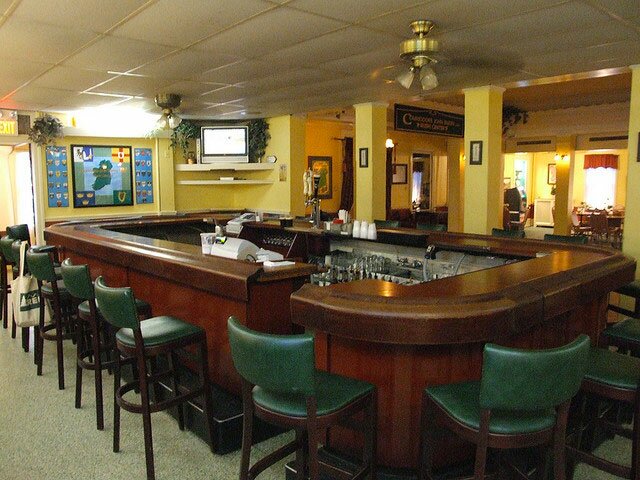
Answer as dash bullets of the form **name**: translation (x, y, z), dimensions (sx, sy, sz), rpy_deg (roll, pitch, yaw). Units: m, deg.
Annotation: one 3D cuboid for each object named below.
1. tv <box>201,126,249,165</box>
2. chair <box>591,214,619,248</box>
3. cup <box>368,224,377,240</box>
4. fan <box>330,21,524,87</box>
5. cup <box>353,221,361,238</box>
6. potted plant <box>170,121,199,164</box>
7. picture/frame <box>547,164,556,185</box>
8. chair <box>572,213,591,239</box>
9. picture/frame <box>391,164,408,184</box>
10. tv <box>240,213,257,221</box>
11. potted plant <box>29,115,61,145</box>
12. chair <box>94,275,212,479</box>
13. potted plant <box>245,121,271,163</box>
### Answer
- **tv**: translation (-1.924, -1.948, 10.154), dimensions (1.127, 0.860, 0.670), rpy_deg (1, 9, -4)
- **chair**: translation (7.522, -0.329, 13.065), dimensions (0.725, 0.903, 2.689), rpy_deg (3, 8, 31)
- **cup**: translation (0.595, -0.098, 5.551), dimensions (0.101, 0.159, 0.192), rpy_deg (0, 7, 7)
- **fan**: translation (1.296, -1.949, 5.301), dimensions (0.957, 0.398, 0.944), rpy_deg (2, -3, -36)
- **cup**: translation (0.416, -0.131, 5.677), dimensions (0.082, 0.184, 0.222), rpy_deg (-3, 7, -19)
- **potted plant**: translation (-2.790, -2.120, 10.501), dimensions (0.747, 1.060, 0.774), rpy_deg (0, 14, -6)
- **picture/frame**: translation (8.741, -2.521, 18.795), dimensions (0.061, 0.796, 0.282), rpy_deg (-4, 7, -29)
- **chair**: translation (6.906, -0.434, 13.206), dimensions (0.427, 0.647, 1.601), rpy_deg (3, 7, 27)
- **picture/frame**: translation (2.315, -1.883, 14.169), dimensions (0.192, 0.568, 0.723), rpy_deg (5, 9, 42)
- **tv**: translation (-1.072, -0.349, 7.581), dimensions (0.249, 0.084, 0.599), rpy_deg (-2, 7, -11)
- **potted plant**: translation (-4.900, -2.052, 9.064), dimensions (0.526, 0.451, 0.545), rpy_deg (10, 20, 20)
- **chair**: translation (-1.379, 0.988, 4.143), dimensions (0.816, 1.431, 1.204), rpy_deg (-4, 7, -25)
- **potted plant**: translation (-1.248, -2.098, 10.418), dimensions (0.538, 0.881, 0.208), rpy_deg (3, 7, 29)
